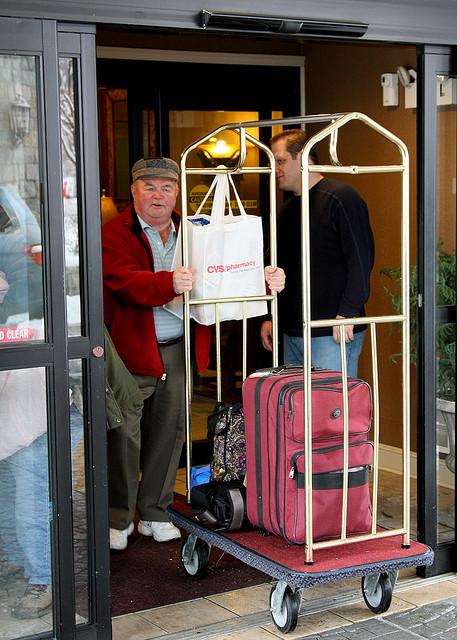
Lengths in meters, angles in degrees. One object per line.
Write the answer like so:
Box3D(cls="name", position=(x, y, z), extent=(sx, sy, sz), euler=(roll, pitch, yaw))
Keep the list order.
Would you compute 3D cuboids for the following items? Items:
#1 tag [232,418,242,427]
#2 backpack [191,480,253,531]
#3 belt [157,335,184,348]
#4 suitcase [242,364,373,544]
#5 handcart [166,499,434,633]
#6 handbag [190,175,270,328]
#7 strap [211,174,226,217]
Box3D(cls="tag", position=(0.031, 0.371, 2.209), extent=(0.006, 0.025, 0.025), euler=(45, -16, -18))
Box3D(cls="backpack", position=(-0.027, 0.650, 2.171), extent=(0.185, 0.082, 0.177), euler=(3, 10, -44))
Box3D(cls="belt", position=(-0.260, 0.098, 2.756), extent=(0.130, 0.052, 0.034), euler=(-7, 1, -42))
Box3D(cls="suitcase", position=(0.269, 0.439, 2.023), extent=(0.376, 0.541, 0.335), euler=(0, -1, -28))
Box3D(cls="handcart", position=(0.284, 0.808, 2.214), extent=(0.830, 0.346, 0.731), euler=(-2, 7, -28))
Box3D(cls="handbag", position=(-0.019, -0.283, 2.466), extent=(0.323, 0.567, 0.592), euler=(-7, 1, -3))
Box3D(cls="strap", position=(-0.040, -0.459, 2.290), extent=(0.066, 0.151, 0.143), euler=(-7, 1, -1))
